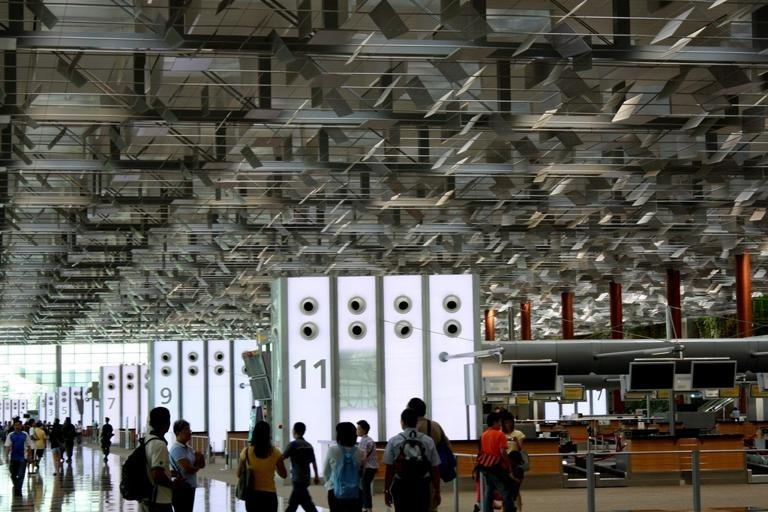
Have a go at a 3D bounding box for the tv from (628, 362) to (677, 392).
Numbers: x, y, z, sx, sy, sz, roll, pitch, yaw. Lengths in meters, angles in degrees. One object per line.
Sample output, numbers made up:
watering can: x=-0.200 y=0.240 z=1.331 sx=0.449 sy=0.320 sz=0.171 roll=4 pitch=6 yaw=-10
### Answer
tv: x=7.953 y=3.594 z=39.467 sx=1.375 sy=0.628 sz=0.115 roll=0 pitch=0 yaw=3

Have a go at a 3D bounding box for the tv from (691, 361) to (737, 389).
tv: x=9.785 y=3.545 z=39.755 sx=1.327 sy=0.592 sz=0.137 roll=0 pitch=0 yaw=-3

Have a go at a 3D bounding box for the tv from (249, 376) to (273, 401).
tv: x=-4.182 y=4.513 z=45.357 sx=0.091 sy=0.971 sz=2.095 roll=-23 pitch=8 yaw=-29

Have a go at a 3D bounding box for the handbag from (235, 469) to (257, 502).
handbag: x=-2.986 y=4.850 z=28.225 sx=0.232 sy=0.665 sz=0.446 roll=8 pitch=-17 yaw=-41

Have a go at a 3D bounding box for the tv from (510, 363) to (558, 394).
tv: x=4.369 y=3.607 z=39.153 sx=1.395 sy=0.628 sz=0.114 roll=0 pitch=-4 yaw=-4
